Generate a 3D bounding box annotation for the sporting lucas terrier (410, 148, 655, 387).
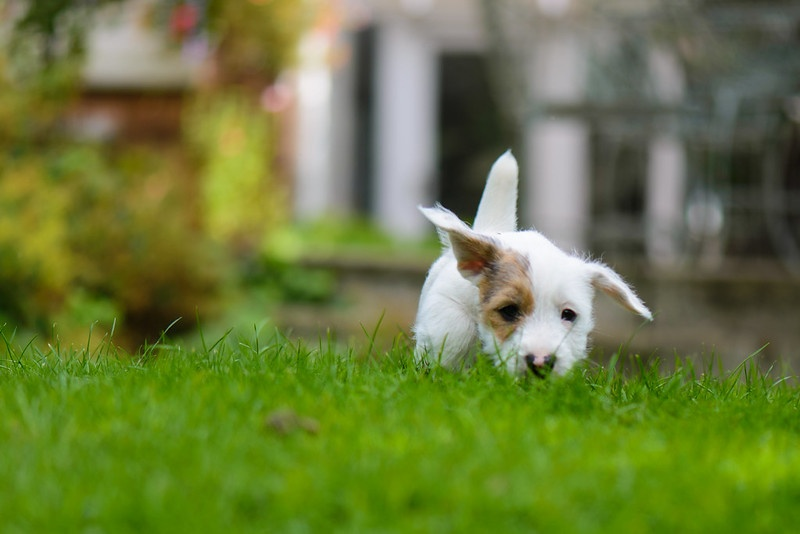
[{"bbox_3d":[0.440,-0.032,3.777,0.775,0.785,0.464,2,3,11],"label":"sporting lucas terrier"}]
